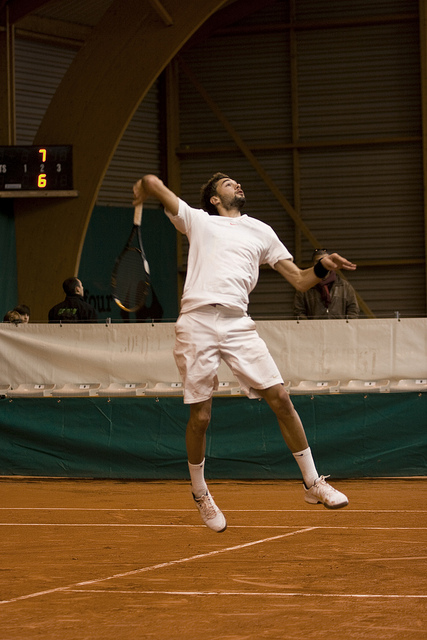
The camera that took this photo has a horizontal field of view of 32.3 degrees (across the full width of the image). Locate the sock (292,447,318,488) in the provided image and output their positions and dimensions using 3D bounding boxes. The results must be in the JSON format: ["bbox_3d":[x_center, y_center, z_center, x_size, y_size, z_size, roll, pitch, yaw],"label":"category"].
[{"bbox_3d":[0.422,0.676,3.431,0.113,0.176,0.286,-1,-5,6],"label":"sock"}]
